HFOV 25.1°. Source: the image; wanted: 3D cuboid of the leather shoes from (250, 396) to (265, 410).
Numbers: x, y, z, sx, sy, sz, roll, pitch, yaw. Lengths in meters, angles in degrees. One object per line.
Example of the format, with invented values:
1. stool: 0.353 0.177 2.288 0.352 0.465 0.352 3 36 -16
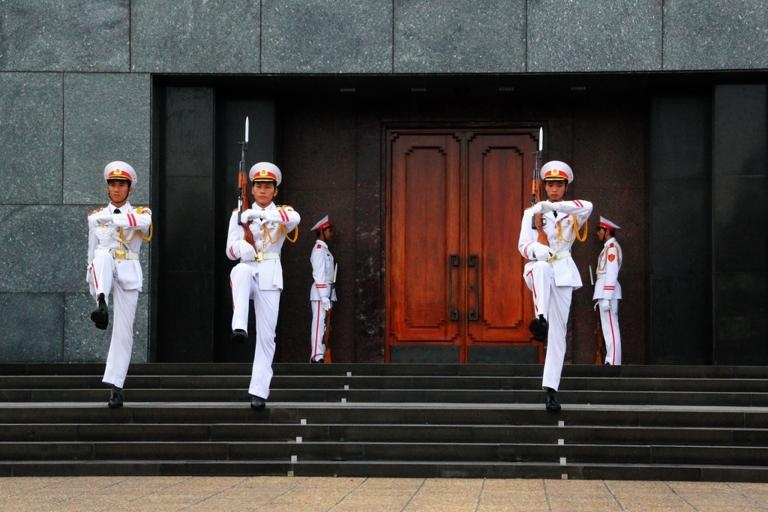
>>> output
1. leather shoes: -1.785 2.090 24.337 0.145 0.224 0.107 3 -23 -9

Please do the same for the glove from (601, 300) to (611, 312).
1. glove: 3.509 0.801 27.330 0.137 0.054 0.175 5 19 19

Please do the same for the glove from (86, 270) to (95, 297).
1. glove: -4.165 0.399 24.543 0.102 0.393 0.266 0 3 -10

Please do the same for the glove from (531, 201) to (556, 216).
1. glove: 2.269 -0.668 24.512 0.306 0.194 0.272 0 3 1

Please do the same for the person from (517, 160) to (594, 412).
1. person: 2.419 0.414 24.533 0.970 3.486 1.270 0 2 3

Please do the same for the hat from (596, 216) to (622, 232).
1. hat: 3.609 -0.470 27.628 0.289 0.119 0.237 33 -8 -9

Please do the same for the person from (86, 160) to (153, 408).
1. person: -3.764 0.406 24.583 0.881 3.451 0.753 -1 2 -17

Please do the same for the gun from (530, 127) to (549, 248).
1. gun: 2.300 -0.939 25.502 0.099 1.917 0.641 1 -3 -17

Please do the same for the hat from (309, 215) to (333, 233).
1. hat: -1.030 -0.476 27.709 0.325 0.126 0.245 -24 -2 6

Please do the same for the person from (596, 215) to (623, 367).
1. person: 3.572 0.567 27.533 0.467 2.349 0.966 0 2 7

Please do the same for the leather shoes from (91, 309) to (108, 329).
1. leather shoes: -3.970 0.922 24.081 0.191 0.297 0.222 -2 6 -9

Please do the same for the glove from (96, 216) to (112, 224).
1. glove: -3.981 -0.498 24.529 0.232 0.108 0.073 0 3 -9

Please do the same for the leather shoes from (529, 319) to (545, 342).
1. leather shoes: 2.163 1.028 24.073 0.241 0.305 0.289 0 3 5

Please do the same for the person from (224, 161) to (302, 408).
1. person: -1.762 0.406 24.704 0.981 3.444 1.104 0 2 -5

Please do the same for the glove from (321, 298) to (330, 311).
1. glove: -0.923 0.784 27.618 0.154 0.174 0.055 -17 11 -34

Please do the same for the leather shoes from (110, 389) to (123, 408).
1. leather shoes: -3.816 2.012 24.472 0.203 0.271 0.391 0 3 -10

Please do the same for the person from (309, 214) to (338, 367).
1. person: -0.997 0.543 27.801 0.361 2.312 0.774 0 2 7

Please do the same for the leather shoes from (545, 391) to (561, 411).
1. leather shoes: 2.378 2.047 24.224 0.202 0.295 0.256 0 3 6

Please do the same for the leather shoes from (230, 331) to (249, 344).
1. leather shoes: -2.036 1.137 24.297 0.188 0.192 0.345 0 3 -8
